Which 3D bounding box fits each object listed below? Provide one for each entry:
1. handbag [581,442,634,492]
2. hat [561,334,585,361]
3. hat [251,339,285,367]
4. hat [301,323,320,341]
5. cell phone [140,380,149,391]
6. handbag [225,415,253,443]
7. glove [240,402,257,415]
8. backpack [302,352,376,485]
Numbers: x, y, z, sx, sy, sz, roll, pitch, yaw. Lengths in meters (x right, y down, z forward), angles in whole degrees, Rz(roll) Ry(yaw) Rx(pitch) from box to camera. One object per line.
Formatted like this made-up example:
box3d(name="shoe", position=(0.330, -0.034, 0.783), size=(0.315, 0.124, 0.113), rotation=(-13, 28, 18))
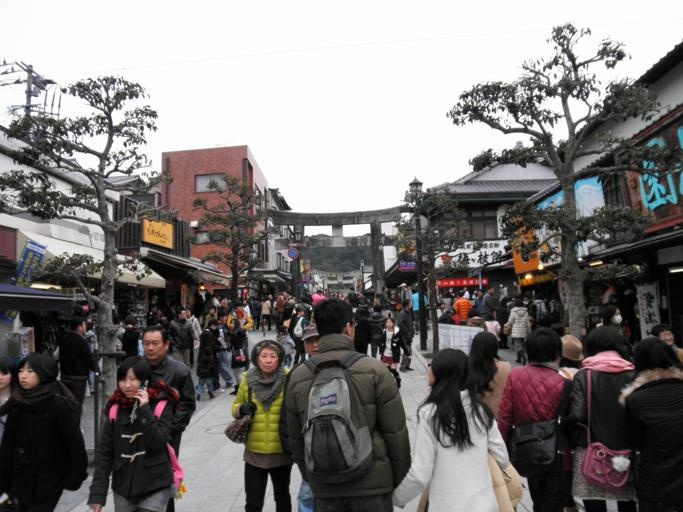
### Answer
box3d(name="handbag", position=(2.424, 1.920, 5.055), size=(0.444, 0.446, 0.237), rotation=(5, -2, 22))
box3d(name="hat", position=(2.512, 1.020, 6.100), size=(0.207, 0.288, 0.283), rotation=(-5, -9, 21))
box3d(name="hat", position=(-0.790, 1.033, 5.913), size=(0.334, 0.268, 0.351), rotation=(0, -9, -9))
box3d(name="hat", position=(-0.348, 0.827, 6.035), size=(0.191, 0.099, 0.278), rotation=(-6, -8, -2))
box3d(name="cell phone", position=(-1.842, 1.212, 5.224), size=(0.065, 0.085, 0.097), rotation=(2, -9, -19))
box3d(name="handbag", position=(-1.065, 1.751, 5.669), size=(0.171, 0.263, 0.287), rotation=(7, -12, -44))
box3d(name="glove", position=(-0.952, 1.548, 5.688), size=(0.133, 0.123, 0.128), rotation=(-4, -4, 5))
box3d(name="backpack", position=(-0.028, 1.273, 4.361), size=(0.528, 1.007, 0.331), rotation=(-2, -8, 2))
